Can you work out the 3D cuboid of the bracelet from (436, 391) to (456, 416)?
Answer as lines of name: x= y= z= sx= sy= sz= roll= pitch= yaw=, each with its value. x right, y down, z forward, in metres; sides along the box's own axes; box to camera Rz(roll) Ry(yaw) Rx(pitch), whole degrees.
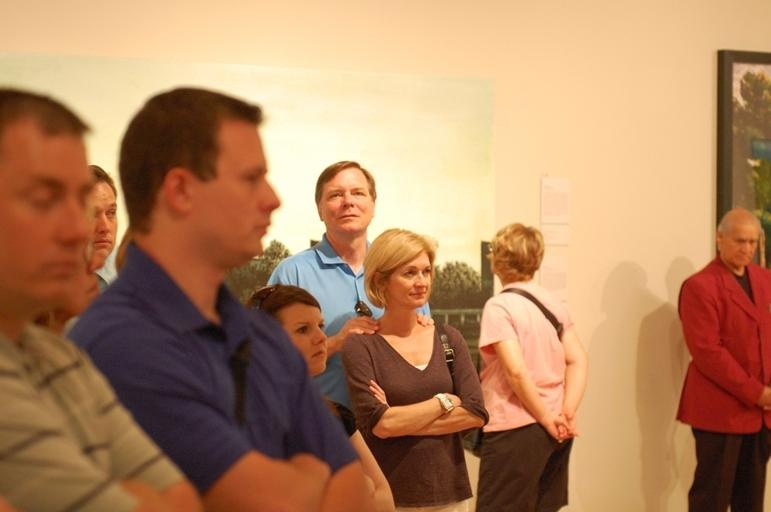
bracelet: x=0.268 y=0.664 z=2.953 sx=0.064 sy=0.093 sz=0.096 roll=-18 pitch=49 yaw=-34

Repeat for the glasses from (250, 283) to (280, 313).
glasses: x=-0.440 y=0.162 z=2.332 sx=0.142 sy=0.066 sz=0.109 roll=-8 pitch=9 yaw=40

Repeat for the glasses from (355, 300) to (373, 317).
glasses: x=-0.112 y=0.275 z=3.361 sx=0.038 sy=0.088 sz=0.067 roll=-39 pitch=7 yaw=46
